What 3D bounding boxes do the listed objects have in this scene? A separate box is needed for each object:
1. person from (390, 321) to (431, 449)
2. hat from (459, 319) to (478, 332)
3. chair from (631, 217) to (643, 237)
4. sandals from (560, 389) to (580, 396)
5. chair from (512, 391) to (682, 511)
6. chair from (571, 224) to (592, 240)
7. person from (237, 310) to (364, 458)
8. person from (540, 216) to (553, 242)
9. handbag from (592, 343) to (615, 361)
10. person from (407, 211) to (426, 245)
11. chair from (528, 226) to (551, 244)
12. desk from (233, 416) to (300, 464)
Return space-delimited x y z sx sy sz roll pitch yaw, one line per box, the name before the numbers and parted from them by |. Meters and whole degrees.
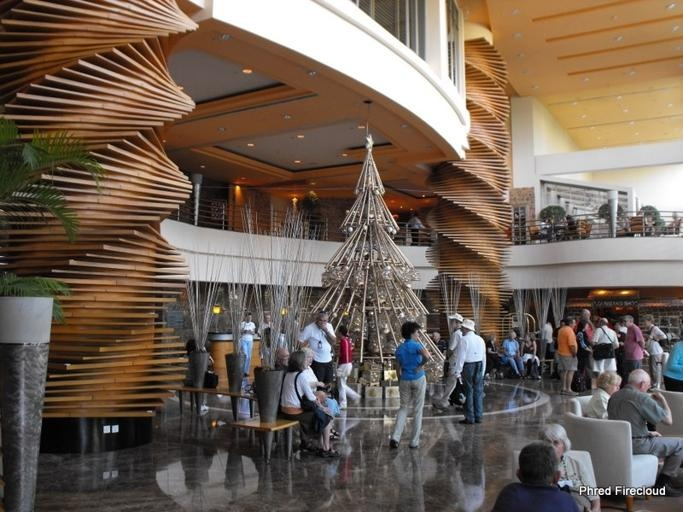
person | 0.781 1.443 6.229 0.494 1.386 0.447 -3 -8 21
hat | 1.833 0.986 7.927 0.304 0.126 0.340 12 -13 6
chair | 8.056 -0.794 15.048 0.321 0.556 0.324 -5 -9 31
sandals | 4.268 2.545 10.272 0.374 0.139 0.121 1 -3 -13
chair | 2.260 1.557 4.822 0.967 1.118 0.928 -9 -14 38
chair | 6.744 -0.671 15.495 0.454 0.469 0.476 0 -18 22
person | -0.605 1.442 6.707 1.345 2.315 0.977 5 -2 -9
person | 6.160 -0.760 16.449 0.294 0.784 0.756 -3 -8 19
handbag | 4.584 1.665 9.649 0.318 0.247 0.112 -3 -13 13
person | 2.491 -0.877 18.430 0.596 1.225 1.681 -2 -8 9
chair | 6.111 -0.631 16.629 0.579 0.407 0.575 1 1 -17
desk | -0.713 1.890 5.787 0.567 0.415 0.847 -2 -8 12
